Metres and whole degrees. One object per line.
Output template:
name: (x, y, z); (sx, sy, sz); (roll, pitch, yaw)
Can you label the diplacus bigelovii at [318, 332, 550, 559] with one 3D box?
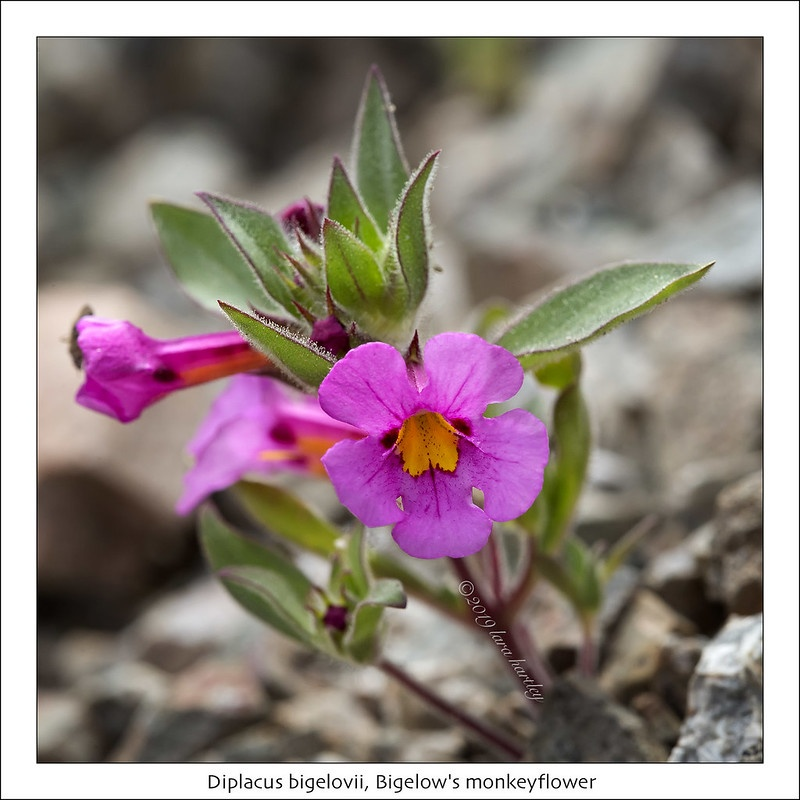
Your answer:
diplacus bigelovii: (0.026, 0.078, 1.473); (0.104, 0.329, 0.379); (-23, -6, -38)
